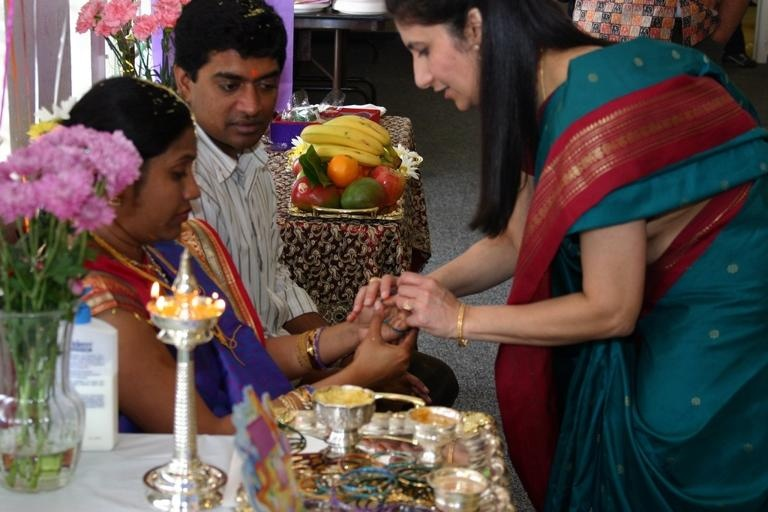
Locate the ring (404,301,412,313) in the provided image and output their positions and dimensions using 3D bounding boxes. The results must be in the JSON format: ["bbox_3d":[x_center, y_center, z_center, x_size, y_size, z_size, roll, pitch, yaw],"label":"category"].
[{"bbox_3d":[0.073,0.147,1.950,0.023,0.031,0.009,-4,0,43],"label":"ring"}]

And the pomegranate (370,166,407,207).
[{"bbox_3d":[0.010,-0.295,2.650,0.144,0.155,0.150,1,18,-9],"label":"pomegranate"}]

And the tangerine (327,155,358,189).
[{"bbox_3d":[-0.153,-0.333,2.608,0.129,0.137,0.139,0,-9,20],"label":"tangerine"}]

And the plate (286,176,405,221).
[{"bbox_3d":[-0.150,-0.267,2.716,0.491,0.182,0.439,-10,14,-40],"label":"plate"}]

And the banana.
[{"bbox_3d":[-0.132,-0.484,2.704,0.349,0.207,0.119,9,54,-6],"label":"banana"}]

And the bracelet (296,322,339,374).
[{"bbox_3d":[-0.213,0.288,2.084,0.097,0.135,0.106,-20,-23,35],"label":"bracelet"}]

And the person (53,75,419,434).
[{"bbox_3d":[-0.366,0.099,1.733,0.872,1.008,0.592,4,22,-6],"label":"person"}]
